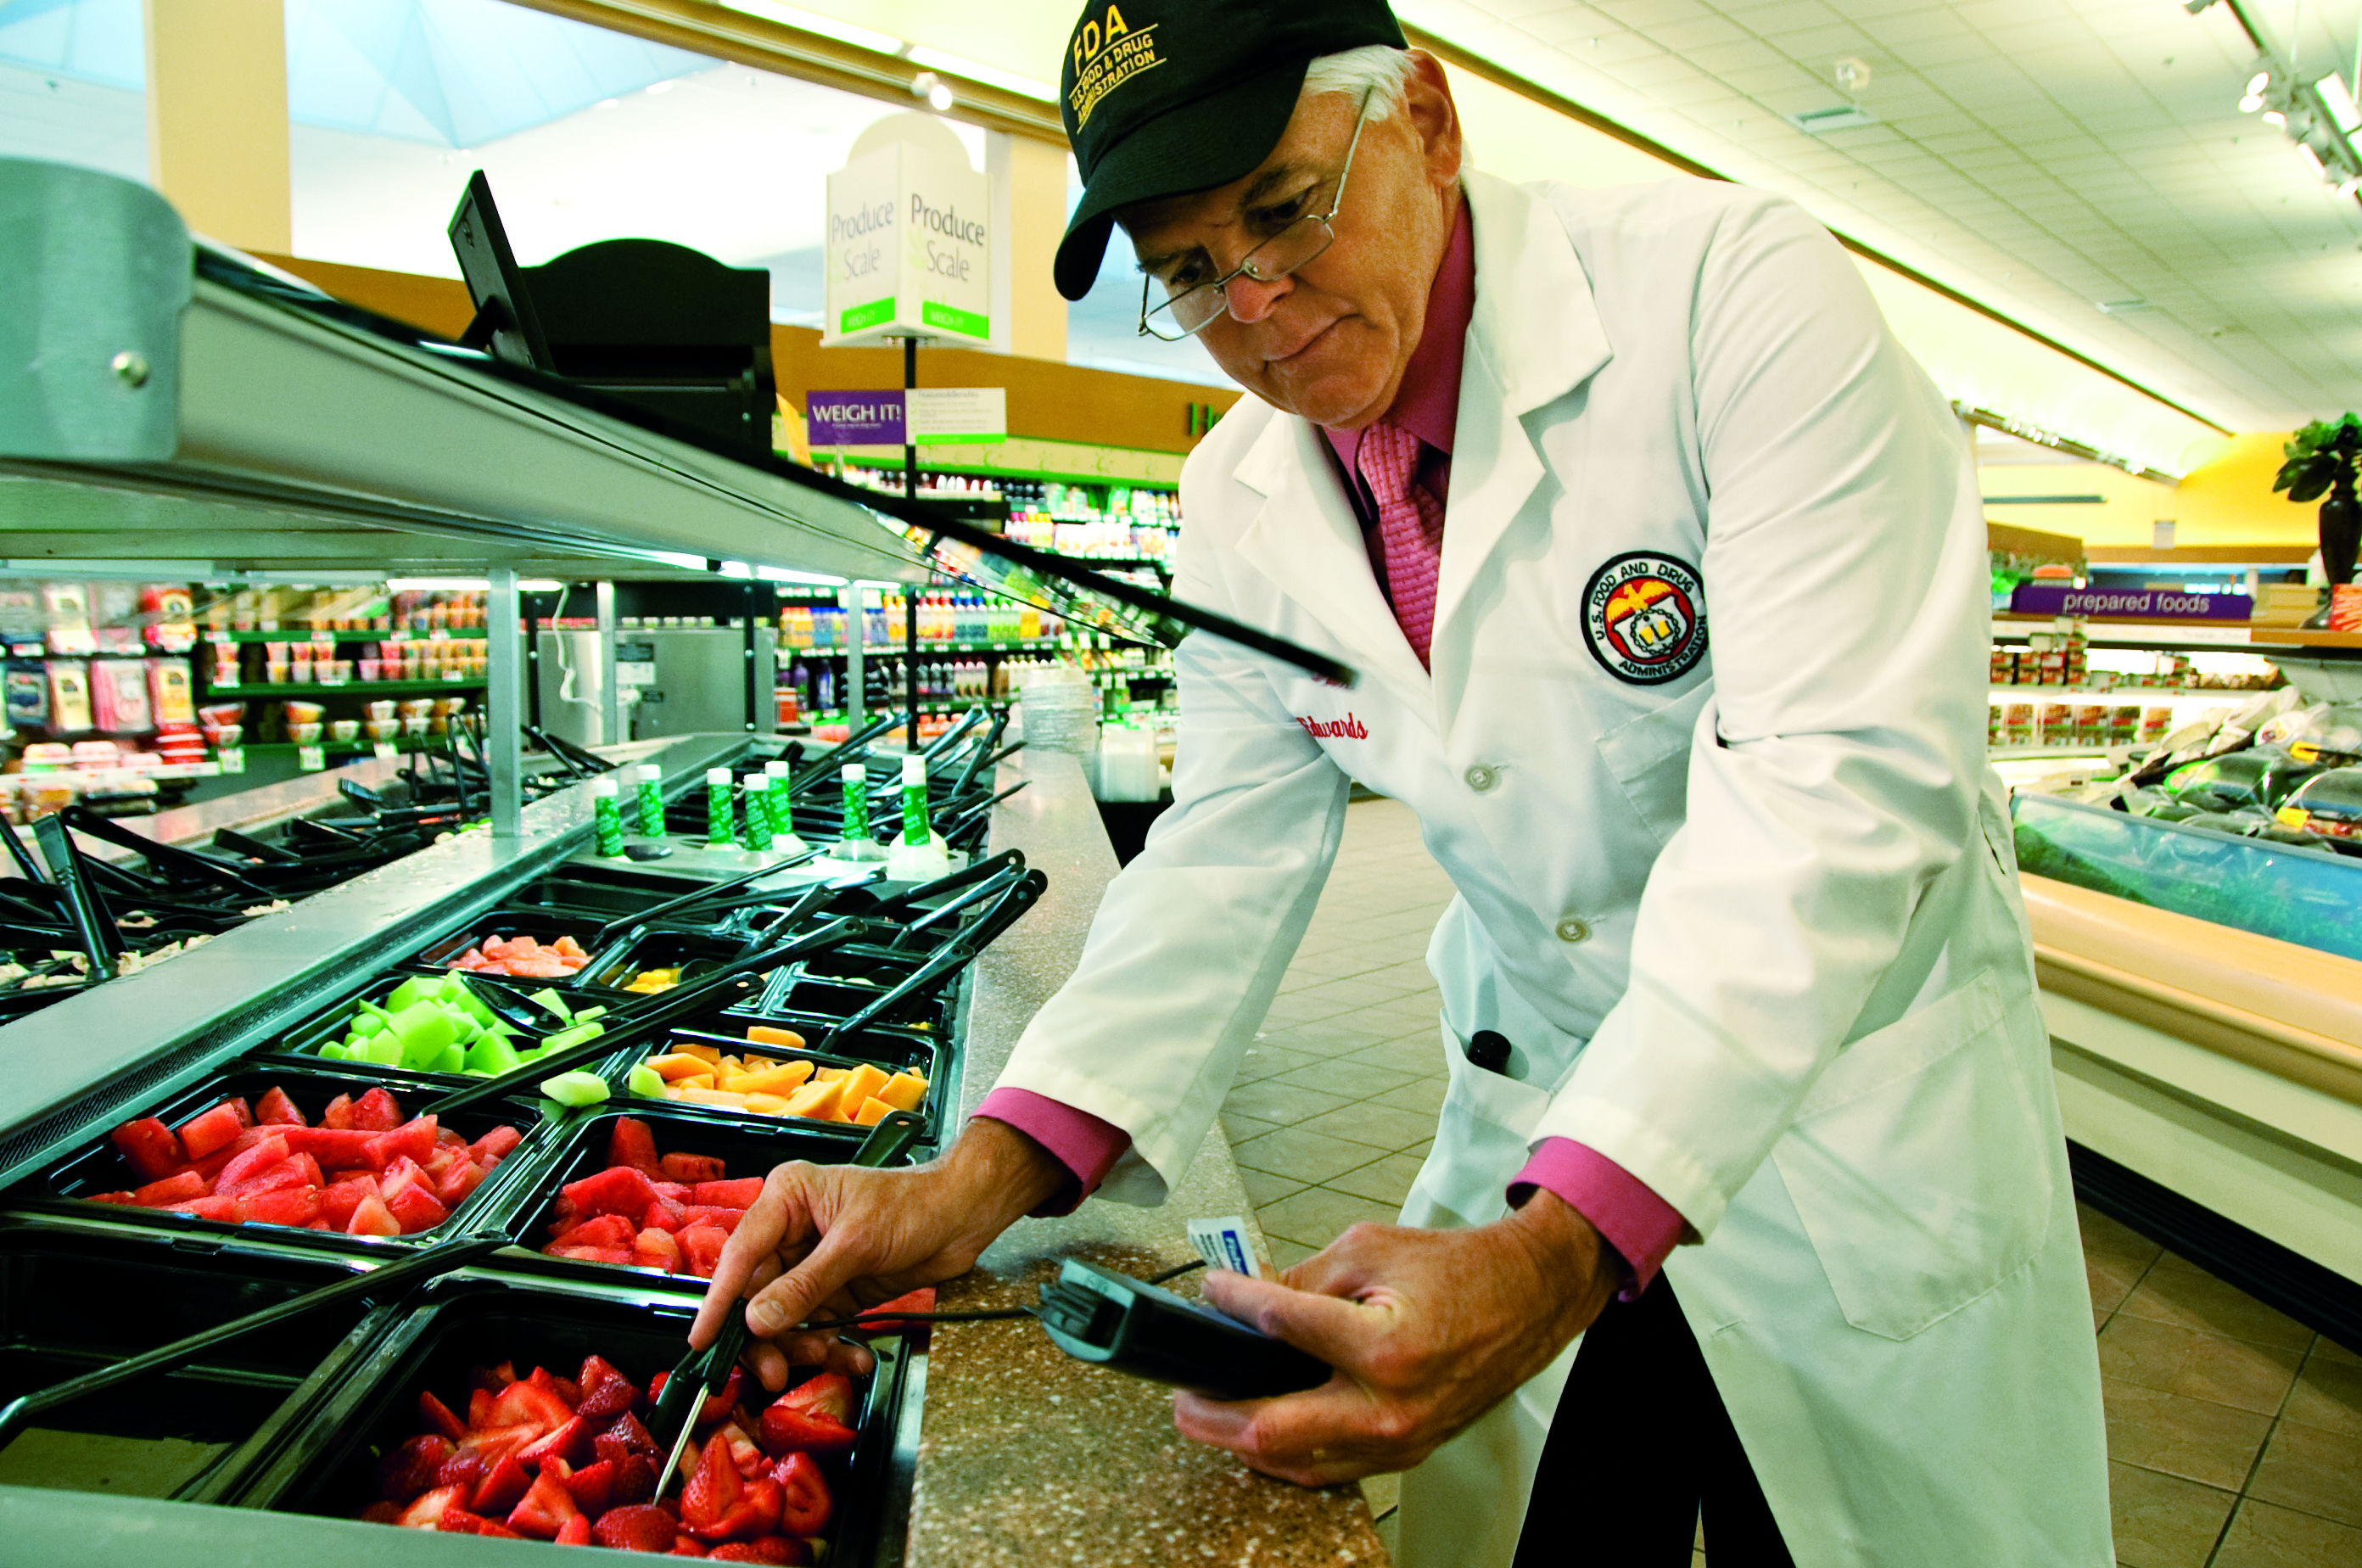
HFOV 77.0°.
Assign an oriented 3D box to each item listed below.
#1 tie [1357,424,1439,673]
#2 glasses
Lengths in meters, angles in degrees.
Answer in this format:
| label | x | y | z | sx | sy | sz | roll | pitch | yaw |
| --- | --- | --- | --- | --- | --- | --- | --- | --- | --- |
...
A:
| label | x | y | z | sx | sy | sz | roll | pitch | yaw |
| --- | --- | --- | --- | --- | --- | --- | --- | --- | --- |
| tie | 0.254 | -0.272 | 1.721 | 0.075 | 0.285 | 0.038 | -14 | -7 | 23 |
| glasses | 0.108 | -0.556 | 1.506 | 0.068 | 0.228 | 0.221 | 35 | -21 | -22 |
